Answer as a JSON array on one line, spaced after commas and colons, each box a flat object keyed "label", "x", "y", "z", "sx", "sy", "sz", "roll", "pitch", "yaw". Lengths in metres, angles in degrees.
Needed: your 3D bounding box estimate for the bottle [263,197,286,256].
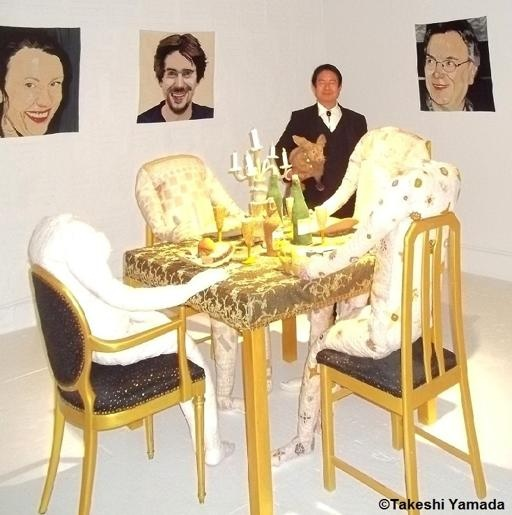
[{"label": "bottle", "x": 0.072, "y": -0.144, "z": 2.163, "sx": 0.074, "sy": 0.247, "sz": 0.094, "roll": -7, "pitch": 20, "yaw": -29}]
